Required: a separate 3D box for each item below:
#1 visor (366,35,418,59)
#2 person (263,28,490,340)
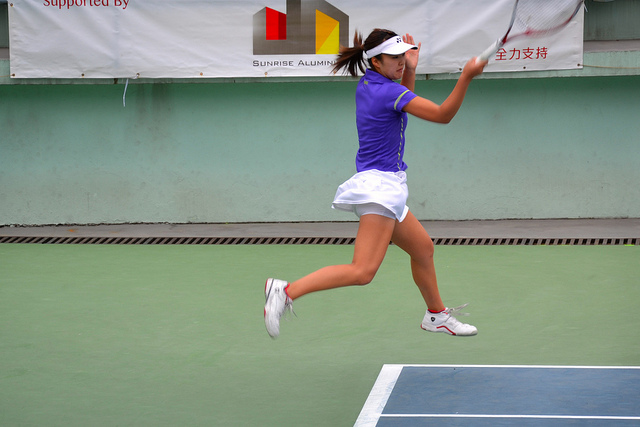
[{"bbox_3d":[0.507,-1.214,4.680,0.257,0.077,0.166,-4,14,35],"label":"visor"},{"bbox_3d":[0.465,-0.127,4.701,1.432,2.412,0.837,1,14,11],"label":"person"}]
